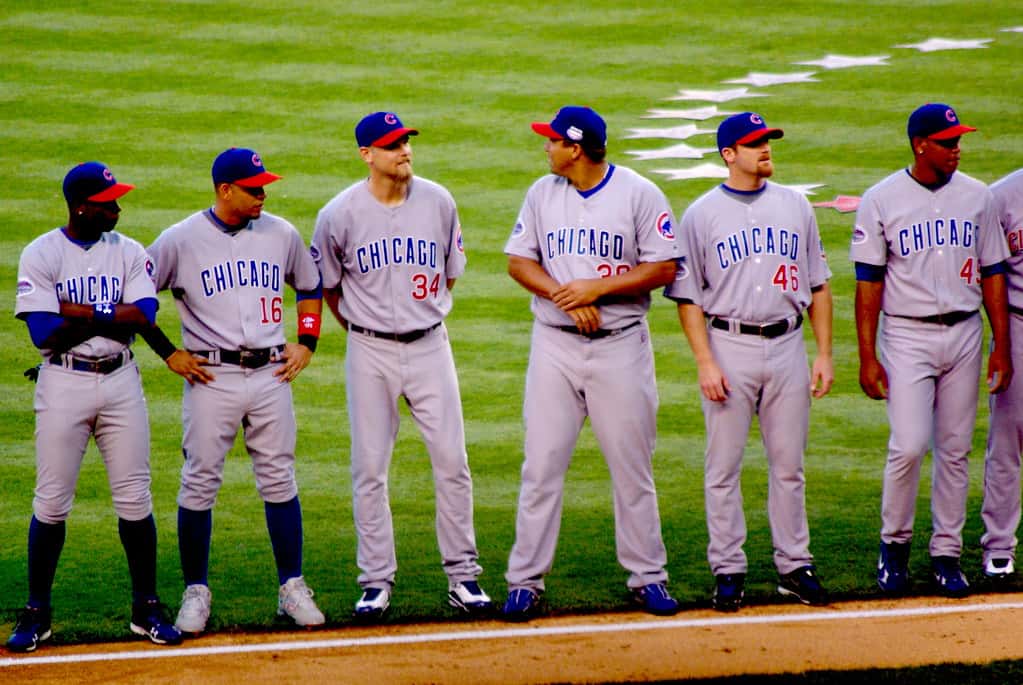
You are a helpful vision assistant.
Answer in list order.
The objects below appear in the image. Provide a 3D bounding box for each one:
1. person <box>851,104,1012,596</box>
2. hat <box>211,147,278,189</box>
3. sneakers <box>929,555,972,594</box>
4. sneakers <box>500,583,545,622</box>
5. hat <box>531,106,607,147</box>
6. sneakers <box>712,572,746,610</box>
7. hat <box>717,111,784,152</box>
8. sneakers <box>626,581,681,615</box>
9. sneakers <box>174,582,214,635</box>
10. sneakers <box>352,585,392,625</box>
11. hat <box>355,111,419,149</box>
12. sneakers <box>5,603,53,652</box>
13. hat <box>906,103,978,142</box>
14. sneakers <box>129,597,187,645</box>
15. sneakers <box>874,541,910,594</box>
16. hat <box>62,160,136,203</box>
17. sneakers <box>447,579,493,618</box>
[{"bbox_3d":[3.372,0.011,15.664,1.290,3.850,0.783,1,8,8],"label":"person"},{"bbox_3d":[-2.142,-1.395,15.437,0.519,0.246,0.328,-6,14,2],"label":"hat"},{"bbox_3d":[3.531,1.848,15.612,0.208,0.134,0.357,-9,26,0],"label":"sneakers"},{"bbox_3d":[0.090,2.041,15.446,0.331,0.183,0.510,-1,-3,4],"label":"sneakers"},{"bbox_3d":[0.454,-1.732,15.481,0.550,0.230,0.305,4,12,8],"label":"hat"},{"bbox_3d":[1.739,1.953,15.538,0.246,0.259,0.285,1,7,6],"label":"sneakers"},{"bbox_3d":[1.868,-1.688,15.549,0.497,0.212,0.335,-3,10,30],"label":"hat"},{"bbox_3d":[1.124,2.004,15.492,0.421,0.163,0.216,6,8,40],"label":"sneakers"},{"bbox_3d":[-2.532,2.018,15.481,0.279,0.215,0.618,6,26,-2],"label":"sneakers"},{"bbox_3d":[-1.109,2.040,15.512,0.244,0.239,0.358,2,7,16],"label":"sneakers"},{"bbox_3d":[-1.095,-1.672,15.567,0.500,0.229,0.348,-2,17,28],"label":"hat"},{"bbox_3d":[-3.763,2.202,15.129,0.198,0.207,0.514,10,6,0],"label":"sneakers"},{"bbox_3d":[3.464,-1.766,15.640,0.514,0.231,0.350,6,15,24],"label":"hat"},{"bbox_3d":[-2.835,2.153,15.287,0.573,0.232,0.228,12,16,37],"label":"sneakers"},{"bbox_3d":[3.106,1.739,15.781,0.272,0.229,0.634,8,42,3],"label":"sneakers"},{"bbox_3d":[-3.268,-1.263,15.188,0.517,0.221,0.311,-11,16,-2],"label":"hat"},{"bbox_3d":[-0.342,2.023,15.499,0.460,0.187,0.184,7,15,43],"label":"sneakers"}]
